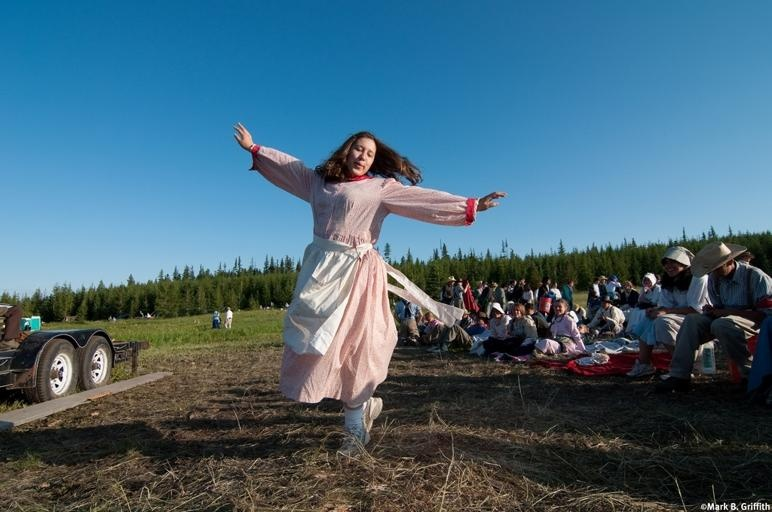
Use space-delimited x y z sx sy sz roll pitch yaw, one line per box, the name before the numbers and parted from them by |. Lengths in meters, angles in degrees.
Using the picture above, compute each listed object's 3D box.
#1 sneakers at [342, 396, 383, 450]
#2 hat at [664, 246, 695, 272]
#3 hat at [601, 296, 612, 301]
sneakers | -0.258 1.737 4.854 0.262 0.616 0.197 44 -29 -27
hat | 4.304 -0.036 7.016 0.452 0.292 0.320 31 -6 -33
hat | 5.504 1.069 12.180 0.216 0.079 0.219 -2 3 -19
